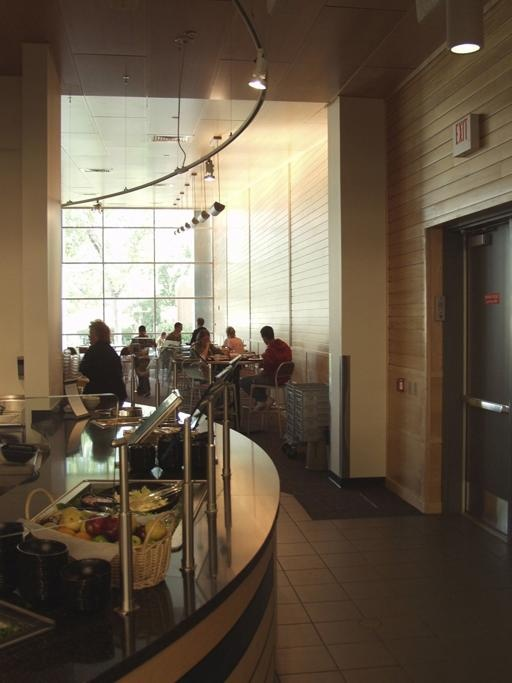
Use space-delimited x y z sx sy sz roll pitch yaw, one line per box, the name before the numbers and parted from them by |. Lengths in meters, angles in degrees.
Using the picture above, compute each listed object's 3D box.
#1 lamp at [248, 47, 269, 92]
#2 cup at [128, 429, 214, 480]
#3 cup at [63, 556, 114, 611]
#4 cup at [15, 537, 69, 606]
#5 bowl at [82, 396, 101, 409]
lamp | 0.020 -1.453 2.920 0.082 0.164 0.098 9 19 6
cup | -0.296 0.375 1.879 0.249 0.131 0.335 1 1 -7
cup | -0.290 0.406 0.938 0.064 0.053 0.069 0 -5 0
cup | -0.366 0.417 0.995 0.070 0.095 0.114 2 -8 -4
bowl | -0.884 0.323 2.944 0.067 0.045 0.069 0 -6 0
